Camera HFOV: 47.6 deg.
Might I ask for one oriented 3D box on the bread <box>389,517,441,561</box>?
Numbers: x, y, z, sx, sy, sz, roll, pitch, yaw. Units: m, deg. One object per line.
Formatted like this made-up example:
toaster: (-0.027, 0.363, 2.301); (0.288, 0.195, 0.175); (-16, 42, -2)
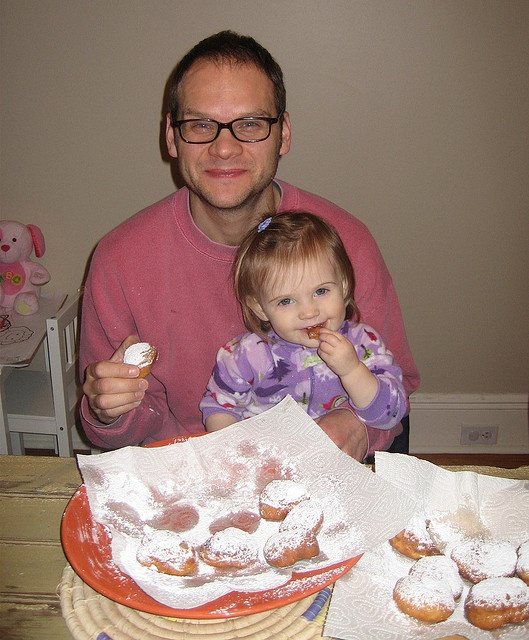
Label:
bread: (0.191, 0.279, 0.763); (0.060, 0.035, 0.040); (-2, 5, -21)

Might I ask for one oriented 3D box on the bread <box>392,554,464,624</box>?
bread: (0.192, 0.312, 0.700); (0.068, 0.038, 0.093); (3, 6, 34)

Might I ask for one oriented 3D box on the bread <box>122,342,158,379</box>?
bread: (-0.233, 0.072, 1.078); (0.065, 0.055, 0.074); (2, 5, 21)
